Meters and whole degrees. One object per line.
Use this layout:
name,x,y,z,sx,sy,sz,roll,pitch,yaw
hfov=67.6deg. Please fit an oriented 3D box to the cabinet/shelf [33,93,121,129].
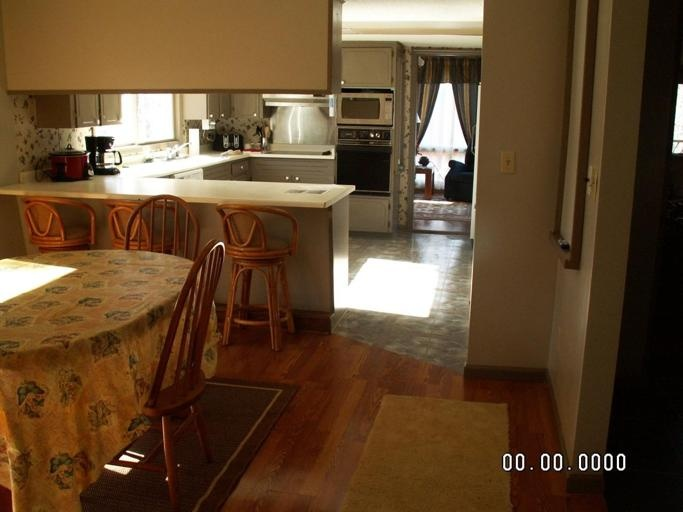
cabinet/shelf,-2.419,-1.431,4.919,0.243,0.359,0.911,8,17,5

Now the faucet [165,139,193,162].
faucet,-2.071,-1.340,6.566,0.132,0.185,0.474,6,20,11

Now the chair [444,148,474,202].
chair,2.256,-1.515,9.874,0.514,0.951,0.727,3,15,11

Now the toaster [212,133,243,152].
toaster,-1.679,-1.712,7.662,0.406,0.250,0.382,1,16,2

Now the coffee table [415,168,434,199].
coffee table,1.658,-1.454,10.216,0.307,0.439,0.614,1,31,8

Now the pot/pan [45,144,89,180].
pot/pan,-2.445,-0.871,4.604,0.272,0.245,0.295,-4,21,-11

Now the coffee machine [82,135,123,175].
coffee machine,-2.318,-1.018,5.144,0.435,0.503,0.313,-4,19,-23

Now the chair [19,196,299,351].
chair,-1.038,0.075,3.110,0.940,0.535,0.355,7,19,14

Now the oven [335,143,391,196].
oven,0.335,-1.307,7.103,0.773,0.784,0.461,5,31,10
